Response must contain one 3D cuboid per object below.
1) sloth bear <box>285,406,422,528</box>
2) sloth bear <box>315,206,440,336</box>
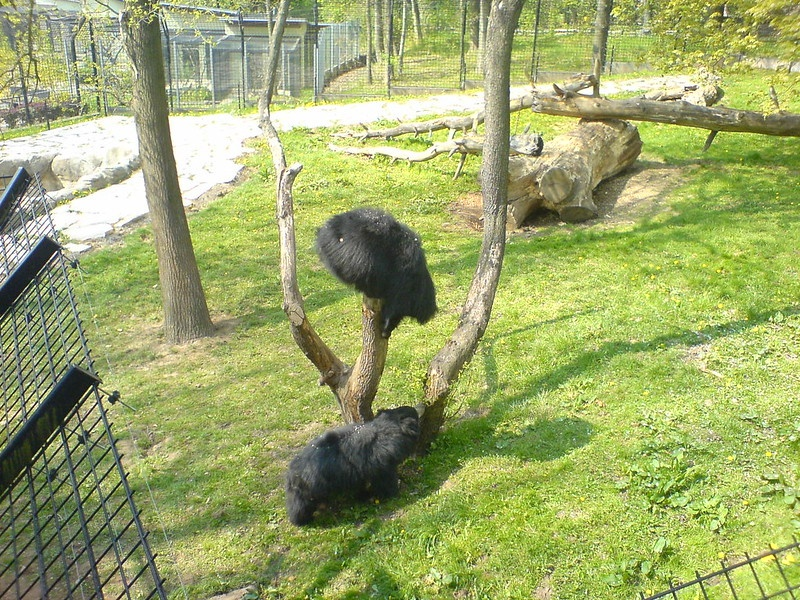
[{"bbox_3d":[-0.610,2.204,10.953,2.059,1.328,0.874,-12,28,-19],"label":"sloth bear"},{"bbox_3d":[0.021,-0.437,10.652,1.820,1.550,1.385,23,29,36],"label":"sloth bear"}]
